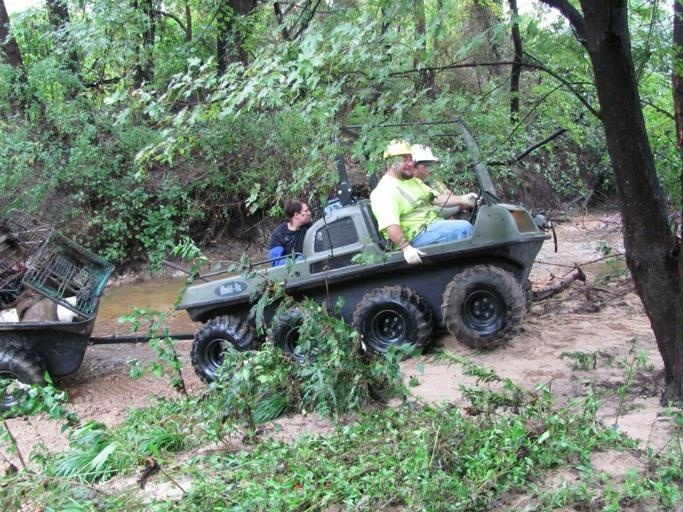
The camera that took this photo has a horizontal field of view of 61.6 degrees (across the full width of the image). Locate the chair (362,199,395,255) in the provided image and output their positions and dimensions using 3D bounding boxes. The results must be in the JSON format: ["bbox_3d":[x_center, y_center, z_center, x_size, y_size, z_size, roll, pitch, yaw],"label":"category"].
[{"bbox_3d":[0.428,-0.387,7.638,0.219,0.611,0.439,-31,8,17],"label":"chair"}]

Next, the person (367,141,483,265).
[{"bbox_3d":[0.976,-0.691,7.458,1.136,1.513,0.888,-6,8,-4],"label":"person"}]

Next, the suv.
[{"bbox_3d":[0.374,0.256,8.630,5.183,3.283,2.761,-10,2,17],"label":"suv"}]
